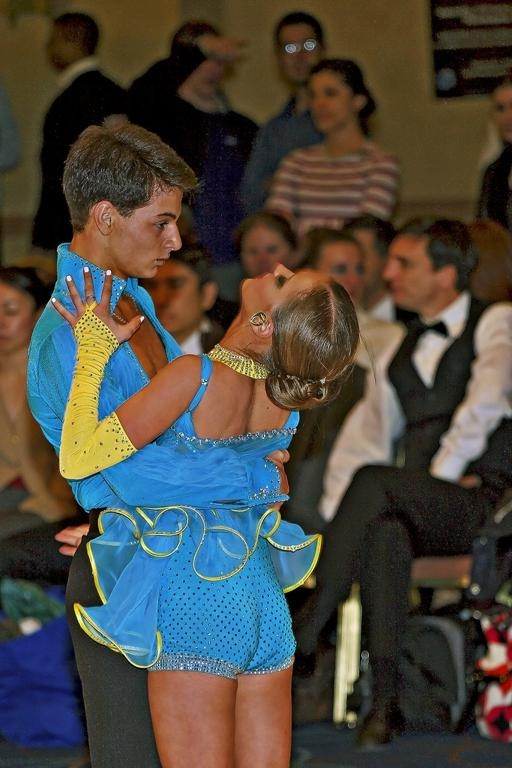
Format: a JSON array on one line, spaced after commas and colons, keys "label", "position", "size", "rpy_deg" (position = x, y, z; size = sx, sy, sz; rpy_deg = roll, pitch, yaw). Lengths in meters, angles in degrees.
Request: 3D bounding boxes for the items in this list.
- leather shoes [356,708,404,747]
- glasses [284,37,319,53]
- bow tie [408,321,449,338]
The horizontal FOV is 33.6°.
[{"label": "leather shoes", "position": [0.343, 0.921, 2.299], "size": [0.134, 0.083, 0.065], "rpy_deg": [2, 8, -5]}, {"label": "glasses", "position": [0.137, -1.024, 2.571], "size": [0.081, 0.038, 0.029], "rpy_deg": [-5, 6, 6]}, {"label": "bow tie", "position": [0.529, -0.172, 2.605], "size": [0.090, 0.054, 0.022], "rpy_deg": [-28, -9, 20]}]
